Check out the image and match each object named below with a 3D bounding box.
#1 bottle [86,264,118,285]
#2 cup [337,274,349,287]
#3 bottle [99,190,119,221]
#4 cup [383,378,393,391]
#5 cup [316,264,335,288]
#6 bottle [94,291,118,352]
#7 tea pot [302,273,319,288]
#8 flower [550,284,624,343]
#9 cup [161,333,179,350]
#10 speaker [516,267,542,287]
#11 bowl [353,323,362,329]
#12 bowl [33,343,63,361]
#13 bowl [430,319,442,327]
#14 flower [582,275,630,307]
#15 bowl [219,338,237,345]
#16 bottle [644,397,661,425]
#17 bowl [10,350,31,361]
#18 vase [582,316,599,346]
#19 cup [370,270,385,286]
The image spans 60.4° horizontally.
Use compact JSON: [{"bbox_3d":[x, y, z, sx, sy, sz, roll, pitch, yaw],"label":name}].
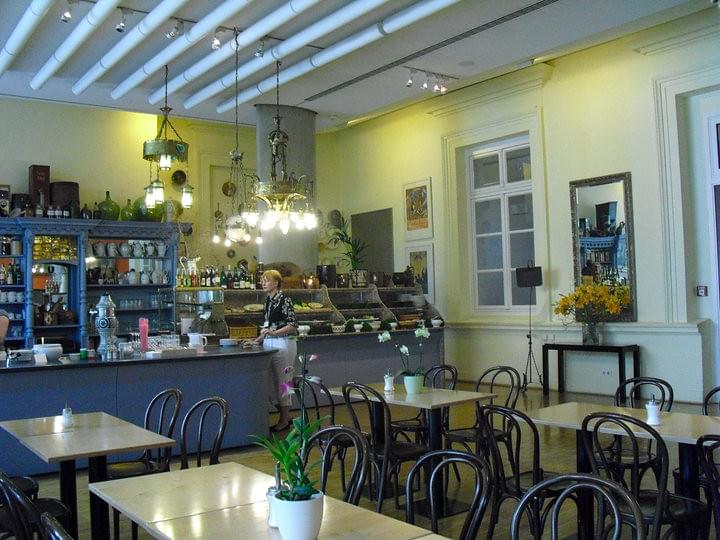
[{"bbox_3d":[-4.210,-0.016,10.124,0.506,0.373,0.275,4,-9,-37],"label":"bottle"},{"bbox_3d":[-0.306,0.196,11.171,0.181,0.219,0.215,0,-8,2],"label":"cup"},{"bbox_3d":[-4.227,-1.085,10.400,0.399,0.572,0.398,-2,2,0],"label":"bottle"},{"bbox_3d":[0.264,1.078,5.798,0.112,0.156,0.117,0,-11,0],"label":"cup"},{"bbox_3d":[-0.578,0.102,10.818,0.338,0.409,0.349,-1,-2,0],"label":"cup"},{"bbox_3d":[-2.664,0.574,6.500,0.182,0.614,0.416,-1,0,-23],"label":"bottle"},{"bbox_3d":[-0.830,0.193,10.552,0.216,0.229,0.227,0,-11,0],"label":"tea pot"},{"bbox_3d":[3.605,0.722,9.696,0.887,0.975,0.892,0,-8,-10],"label":"flower"},{"bbox_3d":[-2.057,0.794,6.774,0.172,0.137,0.173,-1,-9,0],"label":"cup"},{"bbox_3d":[2.787,0.129,10.220,0.336,0.351,0.092,2,2,39],"label":"speaker"},{"bbox_3d":[-0.052,0.897,9.726,0.086,0.087,0.118,0,-6,2],"label":"bowl"},{"bbox_3d":[-3.130,0.818,6.236,0.210,0.115,0.198,0,-3,0],"label":"bowl"},{"bbox_3d":[1.319,0.924,10.623,0.126,0.100,0.133,0,-10,0],"label":"bowl"},{"bbox_3d":[3.762,0.347,9.493,0.476,0.327,0.494,0,2,44],"label":"flower"},{"bbox_3d":[-1.586,0.884,7.477,0.198,0.067,0.273,-1,0,-11],"label":"bowl"},{"bbox_3d":[2.080,1.010,4.397,0.083,0.192,0.326,-1,0,25],"label":"bottle"},{"bbox_3d":[-3.348,0.862,6.114,0.195,0.102,0.207,-1,0,0],"label":"bowl"},{"bbox_3d":[3.557,0.934,9.558,0.228,0.408,0.347,-1,0,21],"label":"vase"},{"bbox_3d":[0.318,0.170,11.708,0.244,0.302,0.257,-1,-5,0],"label":"cup"}]
